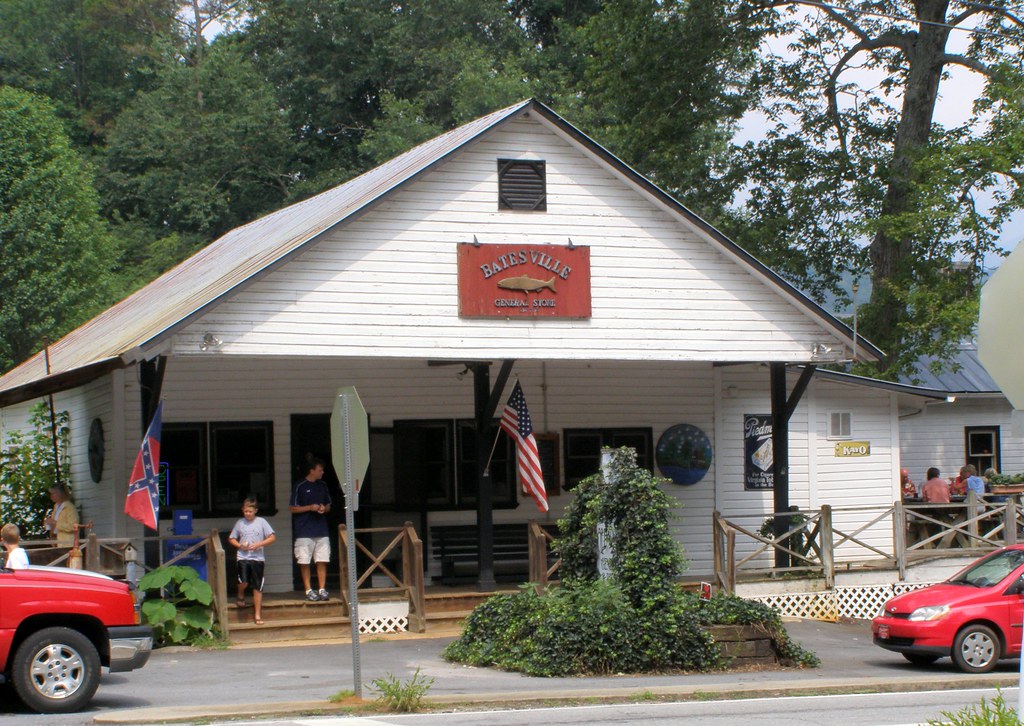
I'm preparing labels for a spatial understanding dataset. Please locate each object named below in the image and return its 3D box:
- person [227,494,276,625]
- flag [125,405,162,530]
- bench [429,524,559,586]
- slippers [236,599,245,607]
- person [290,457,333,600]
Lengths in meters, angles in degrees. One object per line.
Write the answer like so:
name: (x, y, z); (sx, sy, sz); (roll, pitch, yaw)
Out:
person: (-5.825, 4.296, 40.607); (1.073, 2.670, 1.097); (0, 0, 9)
flag: (-7.919, 2.207, 39.290); (0.640, 2.591, 0.487); (2, -6, -17)
bench: (-0.824, 4.495, 43.851); (2.387, 1.460, 0.649); (1, -6, -6)
slippers: (-6.021, 5.268, 40.625); (0.134, 0.121, 0.171); (0, -5, 3)
person: (-4.480, 3.669, 41.365); (1.035, 3.066, 1.002); (0, -7, -27)
